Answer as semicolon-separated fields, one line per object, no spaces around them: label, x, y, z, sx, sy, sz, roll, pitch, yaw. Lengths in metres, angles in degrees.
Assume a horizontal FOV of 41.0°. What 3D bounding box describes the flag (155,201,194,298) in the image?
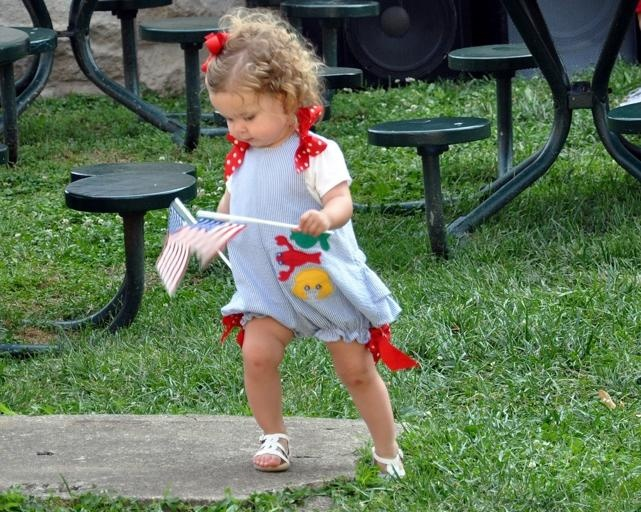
flag;-0.526;-0.007;3.087;0.053;0.377;0.338;12;36;-23

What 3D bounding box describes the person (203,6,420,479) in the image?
person;-0.026;-0.029;2.646;0.662;1.383;0.411;2;15;6

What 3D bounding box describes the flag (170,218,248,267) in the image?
flag;-0.315;-0.069;2.392;0.145;0.047;0.159;-41;36;-20

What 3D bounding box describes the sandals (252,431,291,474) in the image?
sandals;-0.151;0.622;2.692;0.071;0.064;0.163;0;-1;1
